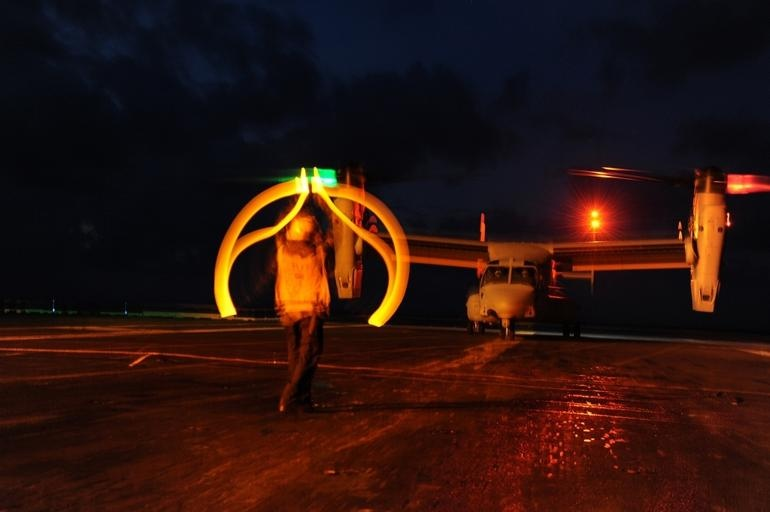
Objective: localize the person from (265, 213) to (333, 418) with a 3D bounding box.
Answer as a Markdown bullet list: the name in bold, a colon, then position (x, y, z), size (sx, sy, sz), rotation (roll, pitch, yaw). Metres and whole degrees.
- **person**: position (-1.275, 0.834, 9.263), size (0.857, 3.136, 0.440), rotation (1, 2, -12)

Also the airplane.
- **airplane**: position (6.759, 0.013, 21.545), size (9.891, 5.551, 12.210), rotation (0, 2, -28)
